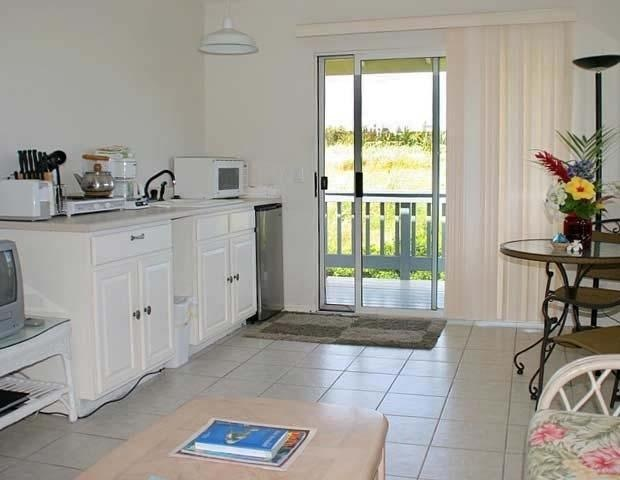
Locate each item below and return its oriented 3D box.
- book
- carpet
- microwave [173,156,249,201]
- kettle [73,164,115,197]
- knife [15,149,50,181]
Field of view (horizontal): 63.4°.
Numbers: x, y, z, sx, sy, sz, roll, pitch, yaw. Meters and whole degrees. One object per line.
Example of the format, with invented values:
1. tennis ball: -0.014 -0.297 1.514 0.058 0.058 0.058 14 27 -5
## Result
1. book: -0.203 0.621 1.584 0.376 0.042 0.247 1 8 13
2. carpet: 0.347 0.791 4.473 1.693 0.027 0.805 1 8 12
3. microwave: -0.886 -0.556 4.517 0.432 0.363 0.591 3 6 17
4. kettle: -1.416 -0.398 3.319 0.272 0.211 0.197 3 4 10
5. knife: -1.680 -0.451 3.034 0.239 0.225 0.124 -2 5 -33
